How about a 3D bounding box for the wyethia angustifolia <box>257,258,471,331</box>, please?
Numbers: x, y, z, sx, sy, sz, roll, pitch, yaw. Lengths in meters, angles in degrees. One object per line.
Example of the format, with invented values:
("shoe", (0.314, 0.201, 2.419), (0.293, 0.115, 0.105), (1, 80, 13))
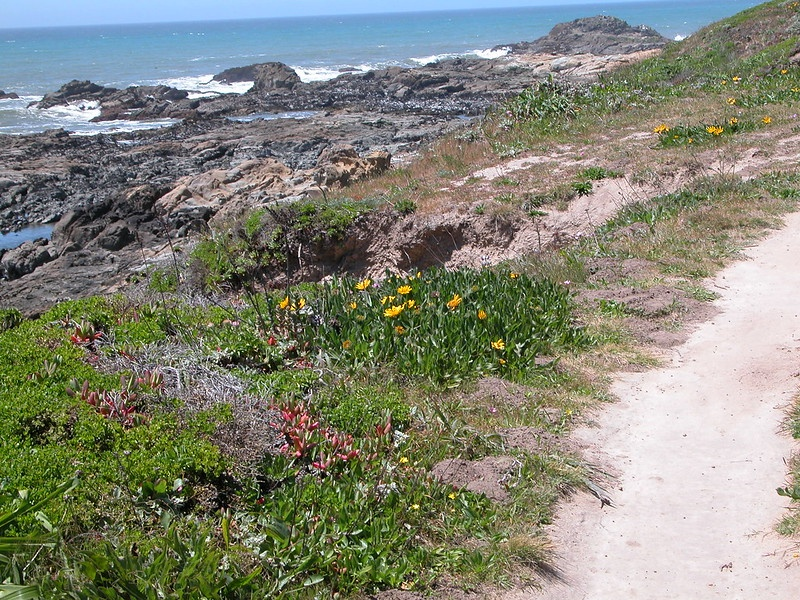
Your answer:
("wyethia angustifolia", (-0.271, 0.015, 9.055), (1.238, 0.518, 1.363), (-9, -6, 30))
